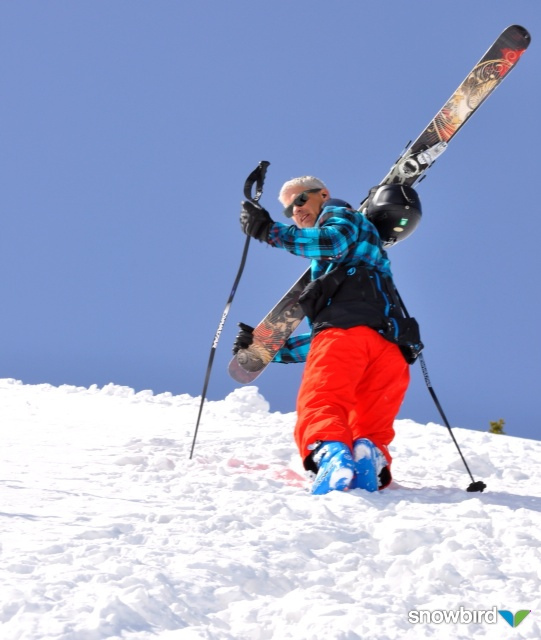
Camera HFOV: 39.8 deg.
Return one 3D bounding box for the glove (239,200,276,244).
[{"bbox_3d":[-0.054,-0.485,3.728,0.111,0.203,0.226,-1,13,-30],"label":"glove"}]
